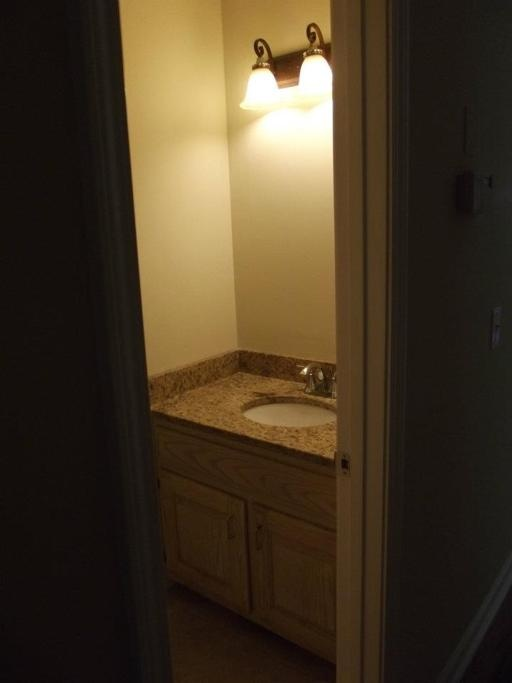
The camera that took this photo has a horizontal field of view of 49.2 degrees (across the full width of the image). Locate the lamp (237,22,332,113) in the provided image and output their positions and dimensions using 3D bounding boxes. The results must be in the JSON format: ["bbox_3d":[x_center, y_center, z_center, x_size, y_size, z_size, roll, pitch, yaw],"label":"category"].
[{"bbox_3d":[0.115,-0.991,2.012,0.387,0.402,0.214,10,22,41],"label":"lamp"}]

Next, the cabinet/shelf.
[{"bbox_3d":[0.041,0.496,1.981,0.727,0.736,0.531,6,26,19],"label":"cabinet/shelf"}]
